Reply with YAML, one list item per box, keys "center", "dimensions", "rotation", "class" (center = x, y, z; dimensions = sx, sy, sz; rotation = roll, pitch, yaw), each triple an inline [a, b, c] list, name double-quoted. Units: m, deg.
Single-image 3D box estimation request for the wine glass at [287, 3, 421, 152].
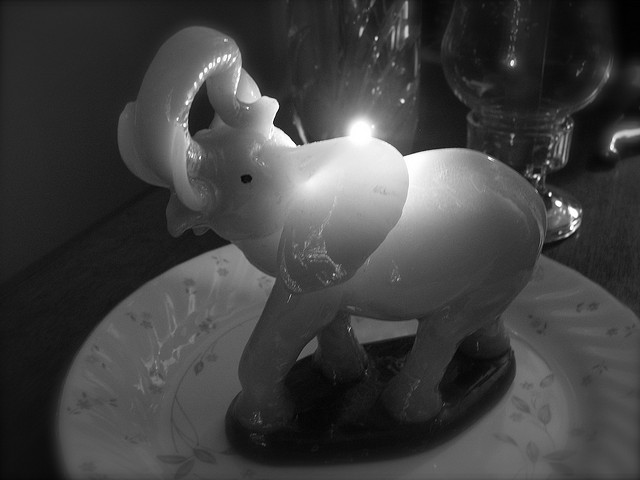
- center: [0.037, -0.187, 0.659]
  dimensions: [0.140, 0.191, 0.101]
  rotation: [-7, 15, -20]
  class: "wine glass"
